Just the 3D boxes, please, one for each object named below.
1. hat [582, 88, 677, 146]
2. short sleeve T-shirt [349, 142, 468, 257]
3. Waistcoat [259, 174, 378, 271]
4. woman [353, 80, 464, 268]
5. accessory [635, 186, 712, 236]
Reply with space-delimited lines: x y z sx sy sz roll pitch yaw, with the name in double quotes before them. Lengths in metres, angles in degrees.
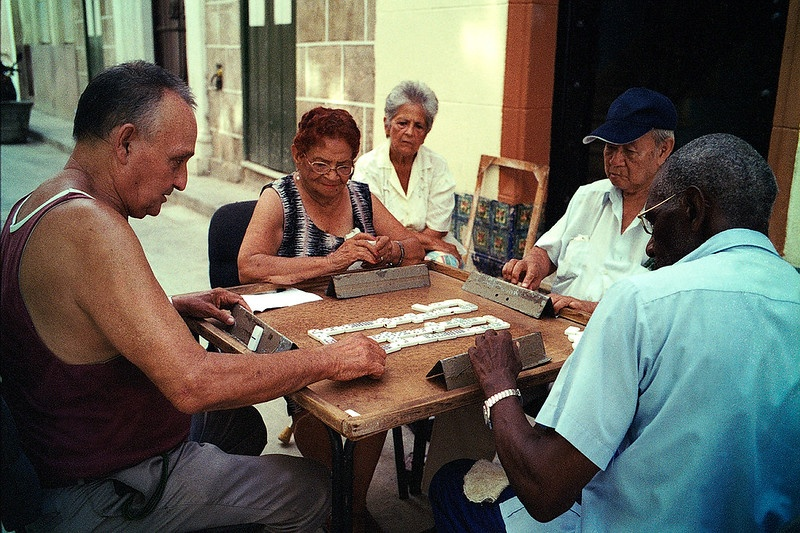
"hat" 1.438 -0.936 3.711 0.634 0.340 0.389 -11 21 -25
"short sleeve T-shirt" 0.064 -0.626 5.294 1.288 0.908 0.665 2 19 28
"Waistcoat" -0.541 -0.238 3.969 0.896 0.811 0.481 -5 8 -36
"woman" 0.002 -0.790 5.093 1.040 1.481 1.031 -4 28 -15
"accessory" 1.000 -0.203 2.203 0.179 0.054 0.177 -33 -2 10
